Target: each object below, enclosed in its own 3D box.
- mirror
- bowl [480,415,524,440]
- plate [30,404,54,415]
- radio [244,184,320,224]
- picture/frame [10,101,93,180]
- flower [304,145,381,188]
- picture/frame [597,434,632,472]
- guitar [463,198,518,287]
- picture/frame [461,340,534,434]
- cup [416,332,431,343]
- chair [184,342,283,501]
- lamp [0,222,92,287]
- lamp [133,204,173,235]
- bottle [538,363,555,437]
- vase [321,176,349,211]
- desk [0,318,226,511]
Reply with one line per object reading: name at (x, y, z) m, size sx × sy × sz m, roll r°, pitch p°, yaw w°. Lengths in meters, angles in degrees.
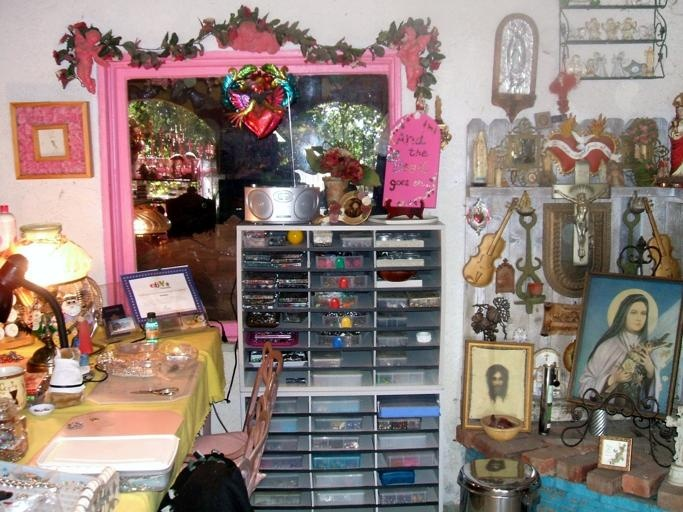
mirror at (-0.547, -0.530, 3.814) m, size 1.726 × 1.616 × 0.085 m, roll -2°, pitch 10°, yaw -7°
bowl at (0.956, 1.036, 3.702) m, size 0.239 × 0.122 × 0.160 m, roll 0°, pitch 8°, yaw 13°
plate at (-1.334, 0.688, 2.756) m, size 0.098 × 0.041 × 0.051 m, roll -6°, pitch 9°, yaw -24°
radio at (-0.359, -0.305, 3.695) m, size 0.441 × 0.219 × 0.236 m, roll -1°, pitch 8°, yaw -8°
picture/frame at (-1.793, -0.743, 3.826) m, size 0.507 × 0.473 × 0.035 m, roll -1°, pitch 7°, yaw -1°
flower at (-0.007, -0.591, 3.740) m, size 0.300 × 0.137 × 0.311 m, roll 14°, pitch 7°, yaw -35°
picture/frame at (1.487, 1.091, 3.380) m, size 0.205 × 0.210 × 0.029 m, roll 0°, pitch 2°, yaw 19°
guitar at (0.939, -0.084, 3.968) m, size 0.222 × 0.658 × 0.134 m, roll 24°, pitch 11°, yaw -7°
picture/frame at (0.957, 0.817, 3.782) m, size 0.591 × 0.693 × 0.068 m, roll 1°, pitch -1°, yaw 5°
cup at (0.489, 0.486, 3.701) m, size 0.064 × 0.030 × 0.068 m, roll -1°, pitch 4°, yaw 0°
chair at (-0.563, 0.982, 3.143) m, size 0.465 × 1.004 × 0.386 m, roll 3°, pitch 15°, yaw -4°
lamp at (-1.553, -0.034, 3.168) m, size 0.512 × 0.268 × 0.497 m, roll -1°, pitch 16°, yaw -31°
lamp at (-1.227, -0.231, 4.024) m, size 0.254 × 0.102 × 0.154 m, roll -1°, pitch 5°, yaw -13°
bottle at (1.255, 0.859, 3.778) m, size 0.076 × 0.407 × 0.238 m, roll 3°, pitch 10°, yaw 31°
vase at (-0.033, -0.389, 3.741) m, size 0.138 × 0.197 × 0.207 m, roll -3°, pitch 8°, yaw -4°
desk at (-0.966, 0.691, 2.987) m, size 0.488 × 0.278 × 1.183 m, roll -1°, pitch 21°, yaw -6°
